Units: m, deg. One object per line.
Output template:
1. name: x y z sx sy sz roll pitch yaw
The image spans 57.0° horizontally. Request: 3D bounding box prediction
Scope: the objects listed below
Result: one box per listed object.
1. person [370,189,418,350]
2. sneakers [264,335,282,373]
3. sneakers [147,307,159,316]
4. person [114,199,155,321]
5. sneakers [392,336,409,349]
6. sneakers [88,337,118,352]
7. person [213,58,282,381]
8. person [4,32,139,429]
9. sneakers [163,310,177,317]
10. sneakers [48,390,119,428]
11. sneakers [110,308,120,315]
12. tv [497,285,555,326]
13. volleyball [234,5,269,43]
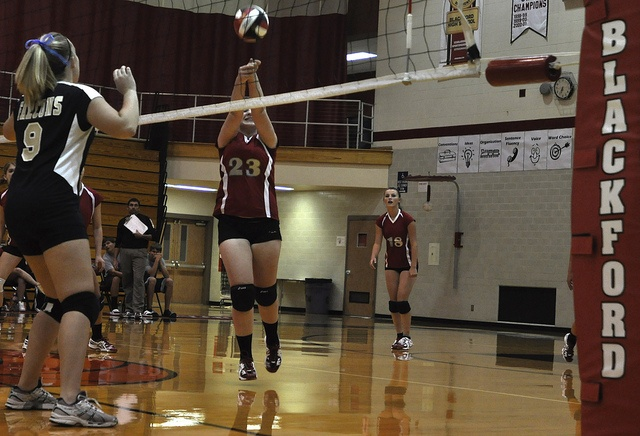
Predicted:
1. person: 1.007 0.658 8.082 0.605 2.232 0.726 1 -6 5
2. sneakers: -0.386 1.190 5.001 0.115 0.355 0.151 -2 15 -3
3. sneakers: -3.200 1.785 11.175 0.321 0.153 0.122 1 -3 21
4. person: -3.382 0.701 10.691 0.744 2.178 0.596 -2 -3 14
5. sneakers: 1.079 1.679 7.883 0.237 0.160 0.125 3 -10 10
6. sneakers: -2.275 1.337 6.258 0.381 0.171 0.140 5 -8 -6
7. person: -0.557 0.194 4.787 0.614 2.250 0.471 5 -7 -23
8. person: -1.589 0.024 3.682 0.825 2.441 0.394 0 -6 18
9. sneakers: -2.918 1.889 11.593 0.120 0.120 0.277 8 -14 -40
10. sneakers: -1.390 1.163 3.604 0.465 0.264 0.168 5 -10 -5
11. sneakers: -3.958 1.833 11.454 0.133 0.074 0.183 2 -5 -25
12. tv: 4.923 2.083 13.934 0.965 0.714 0.137 -1 -6 32
13. volleyball: -0.605 -1.742 5.204 0.284 0.377 0.237 3 -6 -10
